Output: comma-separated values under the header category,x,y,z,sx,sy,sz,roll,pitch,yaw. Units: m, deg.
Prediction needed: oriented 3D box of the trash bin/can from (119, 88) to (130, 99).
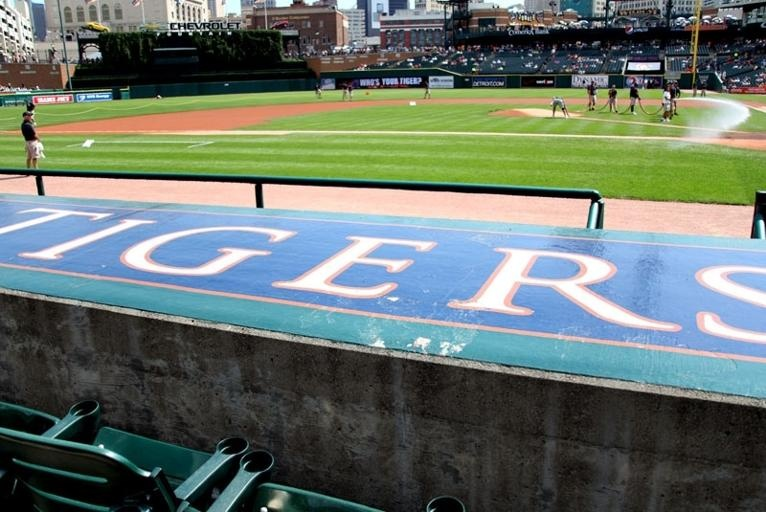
category,x,y,z,sx,sy,sz,roll,pitch,yaw
trash bin/can,-22.643,-13.982,49.065,0.824,0.847,1.468,-4,16,-4
